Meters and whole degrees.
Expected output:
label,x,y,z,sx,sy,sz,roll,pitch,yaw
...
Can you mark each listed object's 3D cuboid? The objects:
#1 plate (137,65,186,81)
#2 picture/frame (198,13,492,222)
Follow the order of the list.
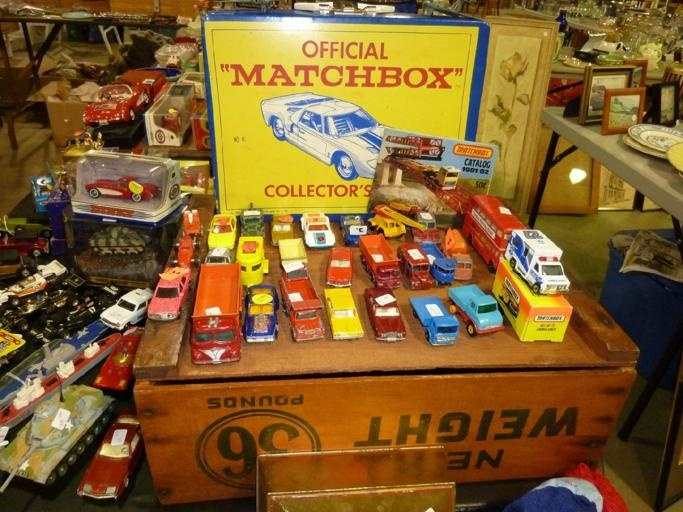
label,x,y,z,sx,sy,sz,roll,pitch,yaw
plate,-2.613,-2.609,6.889,0.589,0.117,0.402,-4,44,-22
picture/frame,-0.007,-0.902,3.269,1.755,1.301,0.185,-2,31,-7
